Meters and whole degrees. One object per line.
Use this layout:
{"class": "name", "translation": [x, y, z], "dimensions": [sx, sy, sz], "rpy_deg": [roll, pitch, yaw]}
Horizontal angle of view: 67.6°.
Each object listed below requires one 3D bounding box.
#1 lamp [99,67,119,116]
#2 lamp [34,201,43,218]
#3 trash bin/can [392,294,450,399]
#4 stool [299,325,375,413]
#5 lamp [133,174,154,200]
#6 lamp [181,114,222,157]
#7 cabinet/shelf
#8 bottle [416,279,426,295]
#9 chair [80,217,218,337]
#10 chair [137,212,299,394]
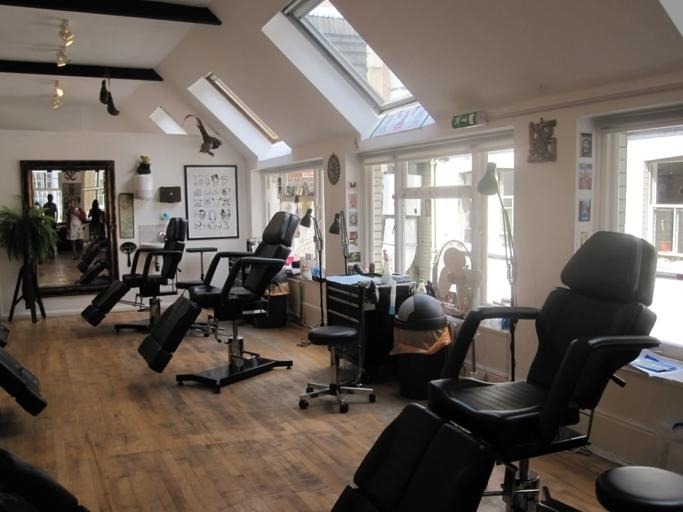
{"class": "lamp", "translation": [-2.989, -2.098, 6.498], "dimensions": [0.156, 0.613, 0.245], "rpy_deg": [-5, -5, 33]}
{"class": "lamp", "translation": [-4.267, -0.676, 7.154], "dimensions": [0.092, 0.206, 0.300], "rpy_deg": [-6, 10, -31]}
{"class": "trash bin/can", "translation": [0.680, 0.766, 4.360], "dimensions": [0.479, 0.873, 0.502], "rpy_deg": [5, 12, 42]}
{"class": "stool", "translation": [-0.046, 0.923, 4.323], "dimensions": [0.633, 0.611, 0.620], "rpy_deg": [-1, 1, 18]}
{"class": "lamp", "translation": [-2.946, -1.024, 7.607], "dimensions": [0.300, 0.530, 0.358], "rpy_deg": [-3, 6, -22]}
{"class": "lamp", "translation": [-2.128, -1.866, 7.867], "dimensions": [0.534, 0.648, 0.580], "rpy_deg": [-3, 9, -18]}
{"class": "cabinet/shelf", "translation": [0.181, 0.636, 4.988], "dimensions": [0.505, 0.746, 0.777], "rpy_deg": [1, 2, -30]}
{"class": "bottle", "translation": [0.740, 0.291, 4.729], "dimensions": [0.101, 0.107, 0.190], "rpy_deg": [4, -3, 2]}
{"class": "chair", "translation": [-2.534, 0.220, 6.300], "dimensions": [1.179, 1.467, 0.798], "rpy_deg": [2, 4, -32]}
{"class": "chair", "translation": [-1.139, 0.375, 4.786], "dimensions": [1.327, 1.567, 0.933], "rpy_deg": [-2, 5, -32]}
